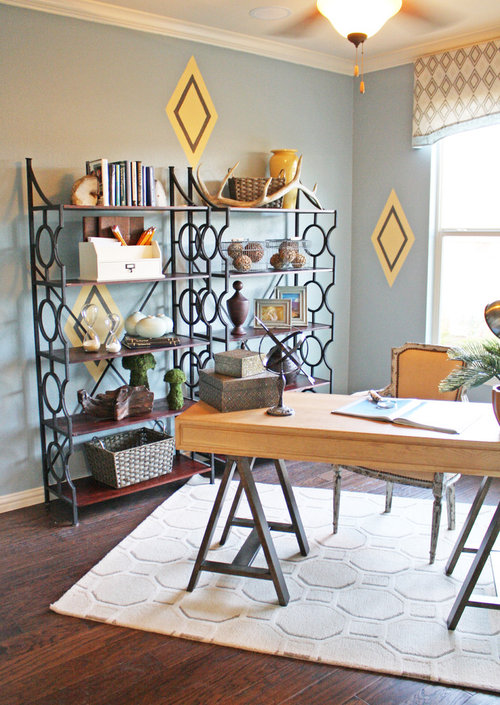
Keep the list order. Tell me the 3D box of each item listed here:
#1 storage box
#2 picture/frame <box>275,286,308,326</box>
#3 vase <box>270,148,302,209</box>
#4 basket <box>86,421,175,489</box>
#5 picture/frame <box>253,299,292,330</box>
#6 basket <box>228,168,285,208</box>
[{"bbox_3d":[-0.017,0.137,1.980,0.172,0.079,0.169,-8,12,-40],"label":"storage box"},{"bbox_3d":[0.271,-0.305,3.819,0.269,0.323,0.035,-3,6,-20],"label":"picture/frame"},{"bbox_3d":[0.219,-1.160,3.898,0.247,0.403,0.243,-3,12,3],"label":"vase"},{"bbox_3d":[-0.687,0.583,3.162,0.355,0.224,0.358,2,7,36],"label":"basket"},{"bbox_3d":[0.153,-0.248,3.703,0.299,0.243,0.029,2,9,4],"label":"picture/frame"},{"bbox_3d":[0.042,-1.036,3.597,0.290,0.144,0.192,-2,10,-18],"label":"basket"}]
